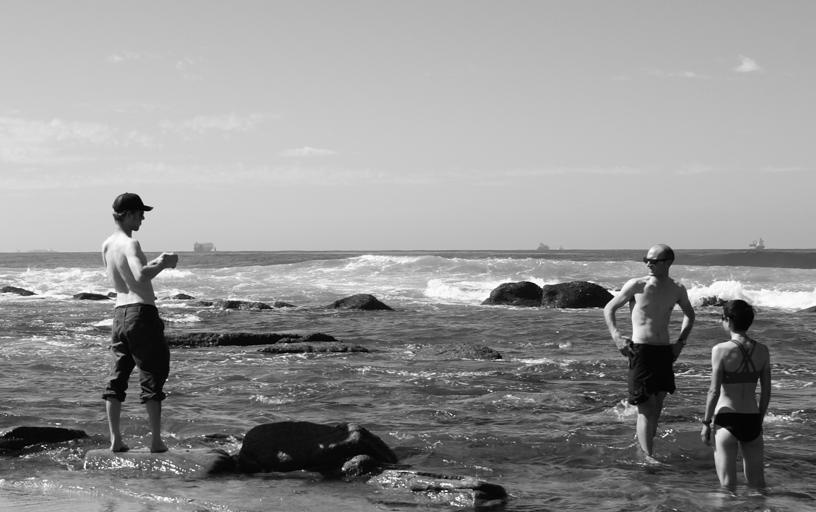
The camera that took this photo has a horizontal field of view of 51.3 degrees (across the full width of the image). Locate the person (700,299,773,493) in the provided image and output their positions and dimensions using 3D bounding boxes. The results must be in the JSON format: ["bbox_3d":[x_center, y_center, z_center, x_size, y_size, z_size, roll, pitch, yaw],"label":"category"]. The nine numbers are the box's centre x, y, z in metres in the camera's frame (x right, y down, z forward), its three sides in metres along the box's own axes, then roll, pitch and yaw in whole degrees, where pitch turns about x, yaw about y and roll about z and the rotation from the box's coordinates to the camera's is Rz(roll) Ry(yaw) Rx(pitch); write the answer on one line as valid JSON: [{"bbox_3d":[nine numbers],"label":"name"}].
[{"bbox_3d":[4.219,1.806,10.968,0.852,2.466,0.387,0,-1,4],"label":"person"}]

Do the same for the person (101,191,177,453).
[{"bbox_3d":[-3.644,0.913,11.528,0.883,3.512,1.236,0,-1,-20],"label":"person"}]

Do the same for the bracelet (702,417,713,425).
[{"bbox_3d":[3.829,2.109,10.876,0.114,0.084,0.038,-7,45,26],"label":"bracelet"}]

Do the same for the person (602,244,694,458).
[{"bbox_3d":[3.446,1.384,12.106,1.172,3.039,0.854,0,-1,15],"label":"person"}]
